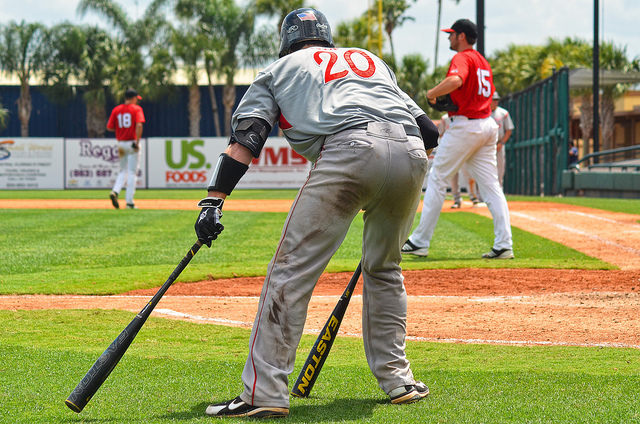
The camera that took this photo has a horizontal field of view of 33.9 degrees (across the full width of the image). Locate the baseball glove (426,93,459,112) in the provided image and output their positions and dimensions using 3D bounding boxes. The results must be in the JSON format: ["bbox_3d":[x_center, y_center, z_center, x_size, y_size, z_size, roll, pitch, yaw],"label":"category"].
[{"bbox_3d":[1.934,-1.786,16.955,0.400,0.161,0.294,8,22,43],"label":"baseball glove"}]

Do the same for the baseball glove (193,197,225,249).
[{"bbox_3d":[-1.323,0.102,12.739,0.380,0.558,0.203,5,-13,13],"label":"baseball glove"}]

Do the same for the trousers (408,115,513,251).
[{"bbox_3d":[1.851,-0.477,17.461,1.319,2.252,2.681,1,0,-3],"label":"trousers"}]
